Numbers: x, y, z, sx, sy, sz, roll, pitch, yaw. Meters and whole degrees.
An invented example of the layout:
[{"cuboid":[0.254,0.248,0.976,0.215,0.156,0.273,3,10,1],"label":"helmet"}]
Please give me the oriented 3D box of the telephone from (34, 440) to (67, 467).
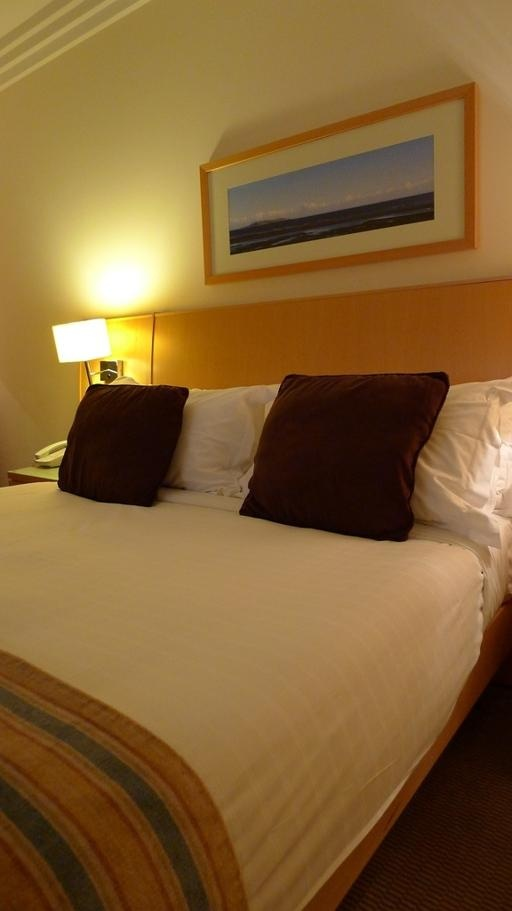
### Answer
[{"cuboid":[-1.076,-0.008,3.179,0.100,0.071,0.145,-7,18,38],"label":"telephone"}]
